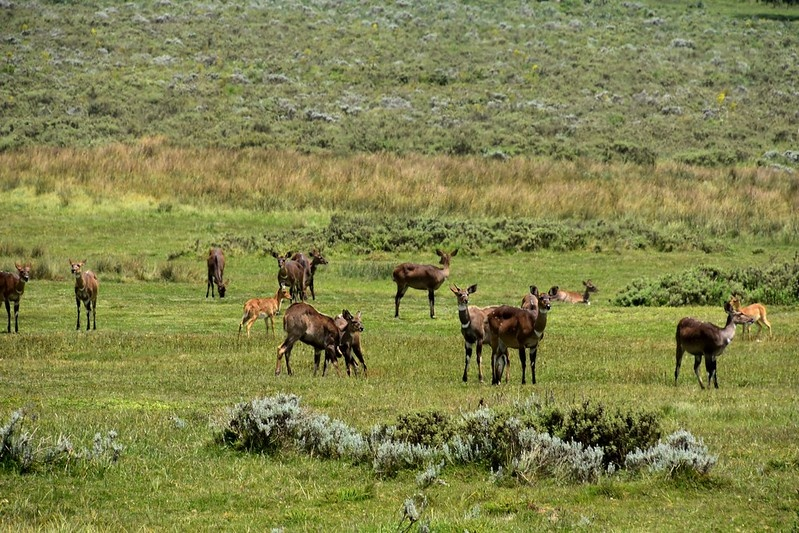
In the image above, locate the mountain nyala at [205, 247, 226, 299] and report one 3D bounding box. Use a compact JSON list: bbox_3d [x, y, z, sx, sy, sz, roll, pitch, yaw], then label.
[{"bbox_3d":[-10.582,0.385,81.981,1.055,2.673,1.909,-1,4,-8],"label":"mountain nyala"}]
